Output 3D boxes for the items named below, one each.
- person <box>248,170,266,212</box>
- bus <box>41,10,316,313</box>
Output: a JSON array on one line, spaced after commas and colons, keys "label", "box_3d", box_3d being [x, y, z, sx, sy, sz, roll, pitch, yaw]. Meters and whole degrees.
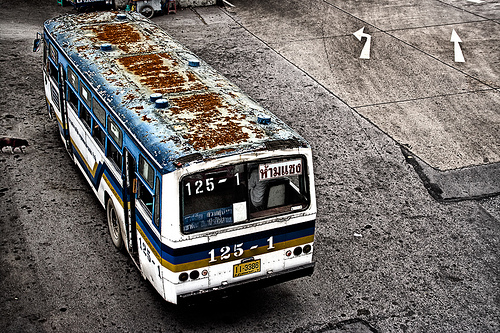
[{"label": "person", "box_3d": [0.129, 0.503, 11.957, 0.171, 0.746, 0.515, 10, 13, 1]}, {"label": "bus", "box_3d": [-2.920, -1.223, 15.964, 4.017, 3.923, 11.222, -10, 33, -29]}]
